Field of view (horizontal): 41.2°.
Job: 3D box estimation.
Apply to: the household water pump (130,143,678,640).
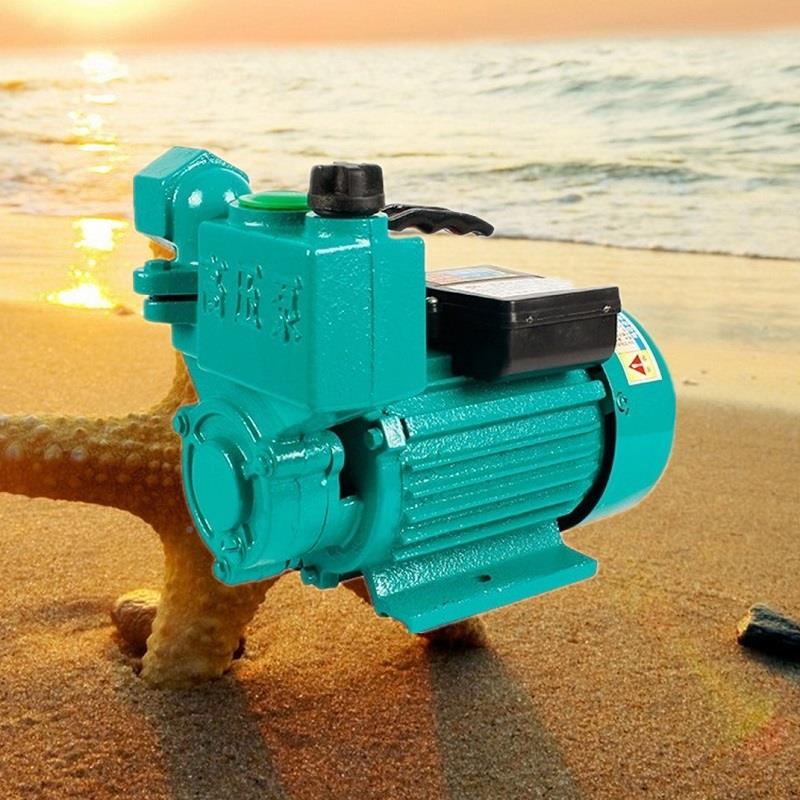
[{"bbox_3d":[-0.013,-0.043,1.581,0.532,0.577,0.824,11,15,37],"label":"household water pump"}]
